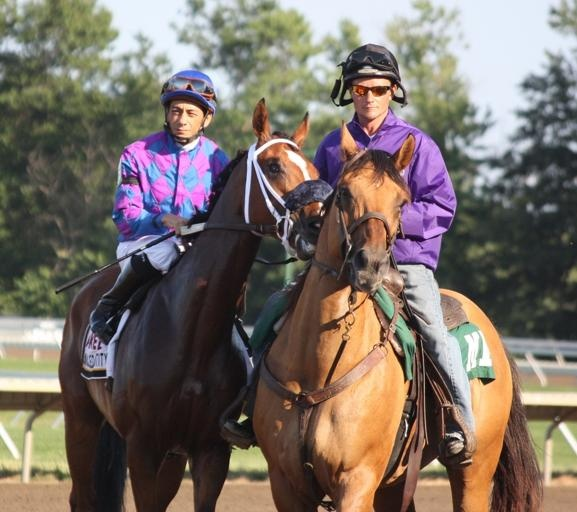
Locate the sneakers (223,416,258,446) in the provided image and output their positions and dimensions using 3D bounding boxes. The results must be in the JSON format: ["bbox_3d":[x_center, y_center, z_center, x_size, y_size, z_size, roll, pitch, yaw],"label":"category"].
[{"bbox_3d":[-0.462,1.656,14.673,0.326,0.293,0.292,1,-2,-1],"label":"sneakers"}]

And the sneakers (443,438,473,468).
[{"bbox_3d":[1.596,1.878,14.706,0.205,0.330,0.265,-6,25,4],"label":"sneakers"}]
